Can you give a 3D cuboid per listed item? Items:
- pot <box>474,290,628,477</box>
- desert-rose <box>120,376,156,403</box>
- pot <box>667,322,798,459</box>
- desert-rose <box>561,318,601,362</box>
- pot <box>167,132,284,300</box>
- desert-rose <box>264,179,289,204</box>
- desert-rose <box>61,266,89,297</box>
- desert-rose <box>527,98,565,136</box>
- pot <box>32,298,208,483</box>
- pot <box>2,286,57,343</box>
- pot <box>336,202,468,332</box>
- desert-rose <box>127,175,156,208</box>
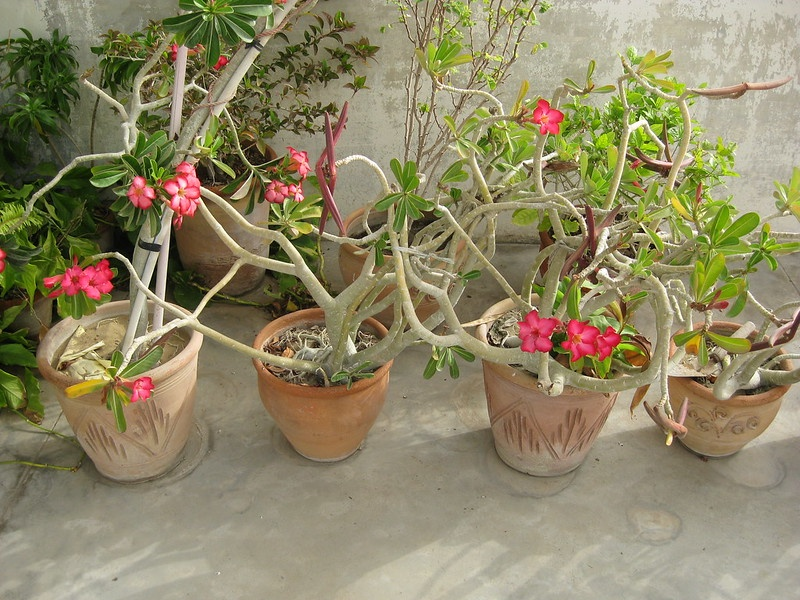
[{"bbox_3d":[0.579,0.374,2.262,0.607,0.467,0.594,1,20,0],"label":"pot"},{"bbox_3d":[-0.757,0.260,1.724,0.071,0.086,0.092,-15,37,-28],"label":"desert-rose"},{"bbox_3d":[1.113,0.311,2.022,0.307,0.336,0.303,-2,51,2],"label":"pot"},{"bbox_3d":[0.453,0.100,1.494,0.099,0.100,0.040,11,2,-11],"label":"desert-rose"},{"bbox_3d":[-0.812,-0.310,2.742,0.406,0.410,0.443,-3,12,1],"label":"pot"},{"bbox_3d":[-0.376,-0.333,1.818,0.072,0.085,0.124,-5,33,-14],"label":"desert-rose"},{"bbox_3d":[-0.919,-0.057,1.685,0.068,0.071,0.051,-7,33,-17],"label":"desert-rose"},{"bbox_3d":[0.381,-0.483,1.560,0.078,0.103,0.109,9,32,9],"label":"desert-rose"},{"bbox_3d":[-0.945,0.340,2.096,0.448,0.547,0.433,3,32,-2],"label":"pot"},{"bbox_3d":[-1.458,0.050,2.330,0.161,0.175,0.160,3,42,-2],"label":"pot"},{"bbox_3d":[-0.028,-0.178,2.605,0.521,0.502,0.546,-1,36,1],"label":"pot"},{"bbox_3d":[-0.653,-0.273,1.510,0.049,0.084,0.066,16,34,19],"label":"desert-rose"}]
